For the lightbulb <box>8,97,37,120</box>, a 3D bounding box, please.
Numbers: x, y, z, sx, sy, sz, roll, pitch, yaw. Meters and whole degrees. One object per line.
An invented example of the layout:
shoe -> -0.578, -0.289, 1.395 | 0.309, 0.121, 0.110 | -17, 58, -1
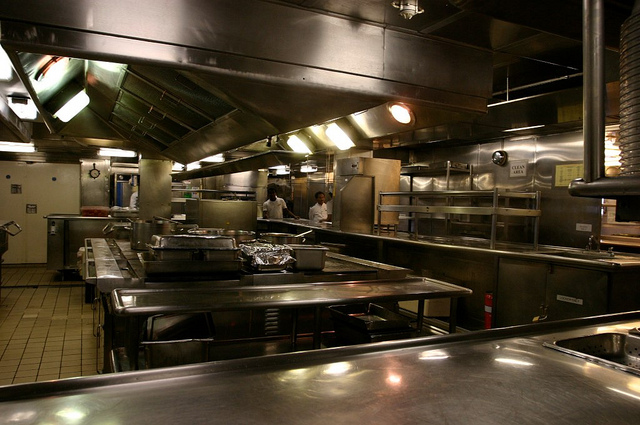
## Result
lightbulb -> -3.639, -1.287, 5.710 | 0.267, 0.207, 0.543 | -4, 9, -26

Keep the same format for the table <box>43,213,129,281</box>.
table -> -3.205, 0.417, 6.334 | 1.350, 0.967, 0.494 | 1, 3, -12

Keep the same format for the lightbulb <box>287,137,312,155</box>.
lightbulb -> -0.215, -0.651, 4.481 | 0.176, 0.146, 0.207 | 9, 12, 44

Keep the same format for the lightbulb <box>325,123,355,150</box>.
lightbulb -> 0.171, -0.683, 4.115 | 0.157, 0.217, 0.256 | -5, 10, -32

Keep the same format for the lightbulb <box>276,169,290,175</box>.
lightbulb -> -0.881, -0.968, 10.926 | 0.297, 0.143, 0.760 | 0, 8, -7

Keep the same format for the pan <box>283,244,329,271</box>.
pan -> -0.123, 0.370, 3.841 | 0.306, 0.180, 0.405 | 2, 0, -18

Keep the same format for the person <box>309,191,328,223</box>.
person -> -0.029, -0.103, 8.816 | 0.344, 0.558, 0.775 | 0, 8, -2

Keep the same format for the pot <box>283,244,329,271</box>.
pot -> -0.034, 0.366, 3.835 | 0.290, 0.163, 0.385 | 1, 0, 9

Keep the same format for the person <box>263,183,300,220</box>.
person -> -0.882, -0.187, 9.592 | 0.655, 0.656, 0.428 | -6, 11, -37
